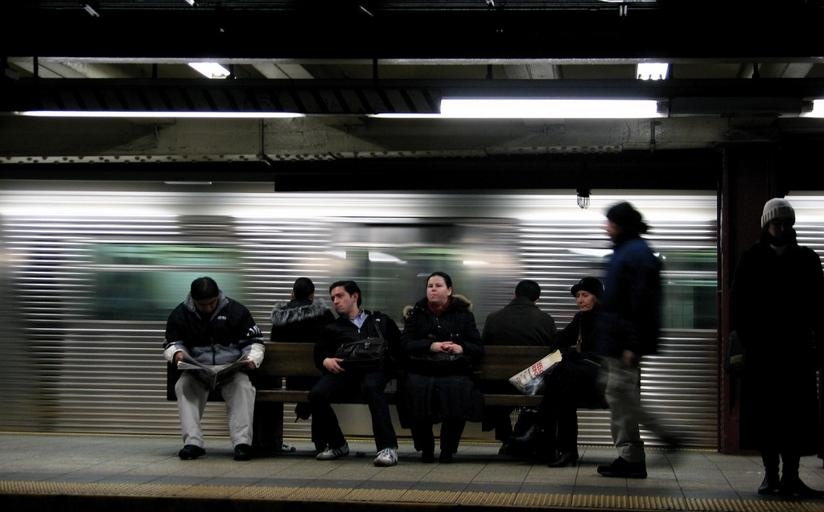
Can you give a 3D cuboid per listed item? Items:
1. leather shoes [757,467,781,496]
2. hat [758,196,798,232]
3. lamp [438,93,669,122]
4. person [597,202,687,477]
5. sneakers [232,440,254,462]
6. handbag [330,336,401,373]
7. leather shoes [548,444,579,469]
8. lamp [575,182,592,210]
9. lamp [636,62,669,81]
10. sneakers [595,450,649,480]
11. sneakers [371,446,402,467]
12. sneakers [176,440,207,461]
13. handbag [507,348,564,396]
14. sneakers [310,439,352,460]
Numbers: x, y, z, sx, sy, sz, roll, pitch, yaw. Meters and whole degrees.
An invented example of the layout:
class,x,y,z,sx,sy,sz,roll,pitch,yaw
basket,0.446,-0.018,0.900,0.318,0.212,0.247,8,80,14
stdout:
class,x,y,z,sx,sy,sz,roll,pitch,yaw
leather shoes,3.746,2.369,9.558,0.224,0.268,0.159,1,-2,4
hat,3.856,-0.470,9.824,0.393,0.324,0.403,-1,-1,-2
lamp,1.624,-1.764,10.735,2.006,0.225,0.141,1,-9,1
person,2.390,0.940,9.849,0.761,3.058,0.859,1,-2,-1
sneakers,-2.087,2.392,11.189,0.232,0.208,0.282,1,-1,-9
handbag,-0.578,1.236,11.196,0.637,0.196,0.421,-2,26,16
leather shoes,1.787,2.402,10.889,0.336,0.225,0.192,2,-2,-42
lamp,2.462,-0.866,13.162,0.198,0.370,0.179,1,-2,8
lamp,2.918,-2.244,11.058,0.374,0.137,0.385,1,-1,13
sneakers,2.344,2.369,10.196,0.560,0.204,0.231,1,-4,17
sneakers,-0.323,2.393,10.888,0.268,0.196,0.355,1,-1,8
sneakers,-2.697,2.410,11.182,0.403,0.137,0.145,13,-12,-43
handbag,1.519,1.421,11.109,0.714,0.263,0.212,-26,-32,4
sneakers,-1.008,2.434,11.250,0.468,0.152,0.161,5,-7,-34
